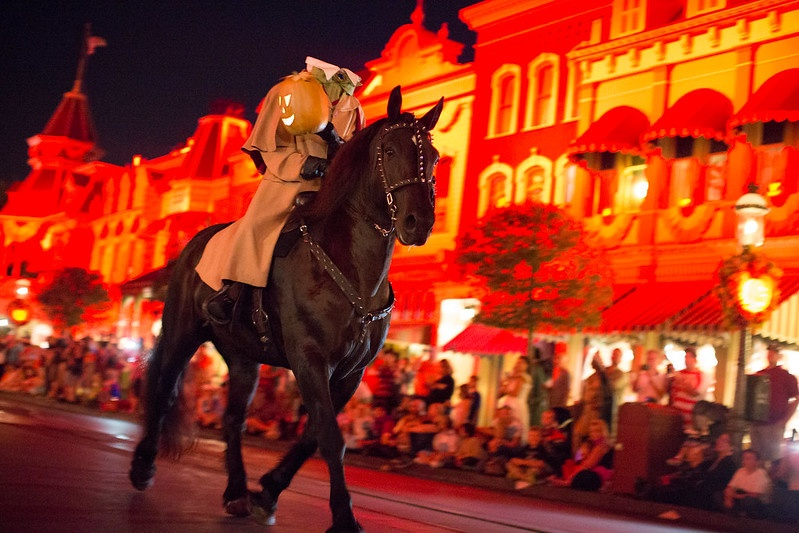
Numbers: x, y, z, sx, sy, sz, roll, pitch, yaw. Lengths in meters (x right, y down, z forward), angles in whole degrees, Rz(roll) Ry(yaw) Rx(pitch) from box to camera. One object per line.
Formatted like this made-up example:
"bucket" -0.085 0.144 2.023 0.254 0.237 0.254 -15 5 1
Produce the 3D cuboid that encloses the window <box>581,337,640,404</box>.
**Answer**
"window" 4.357 2.234 17.441 0.341 1.174 1.402 2 -3 -45

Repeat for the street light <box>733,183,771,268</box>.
"street light" 5.791 -0.590 13.018 0.474 1.421 1.556 4 -14 24

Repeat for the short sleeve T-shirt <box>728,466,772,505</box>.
"short sleeve T-shirt" 4.644 2.857 10.373 0.585 0.392 0.296 -4 -4 34

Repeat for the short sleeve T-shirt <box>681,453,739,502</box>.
"short sleeve T-shirt" 4.248 2.922 10.714 0.619 0.760 0.287 4 -16 22

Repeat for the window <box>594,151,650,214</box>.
"window" 5.444 -2.100 19.716 0.571 1.541 1.573 22 -19 -38

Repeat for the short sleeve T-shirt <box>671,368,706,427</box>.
"short sleeve T-shirt" 4.449 1.995 12.207 0.485 0.927 0.917 5 -14 19

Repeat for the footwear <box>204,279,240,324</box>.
"footwear" -1.542 0.328 7.124 0.179 0.403 0.302 14 23 -48
